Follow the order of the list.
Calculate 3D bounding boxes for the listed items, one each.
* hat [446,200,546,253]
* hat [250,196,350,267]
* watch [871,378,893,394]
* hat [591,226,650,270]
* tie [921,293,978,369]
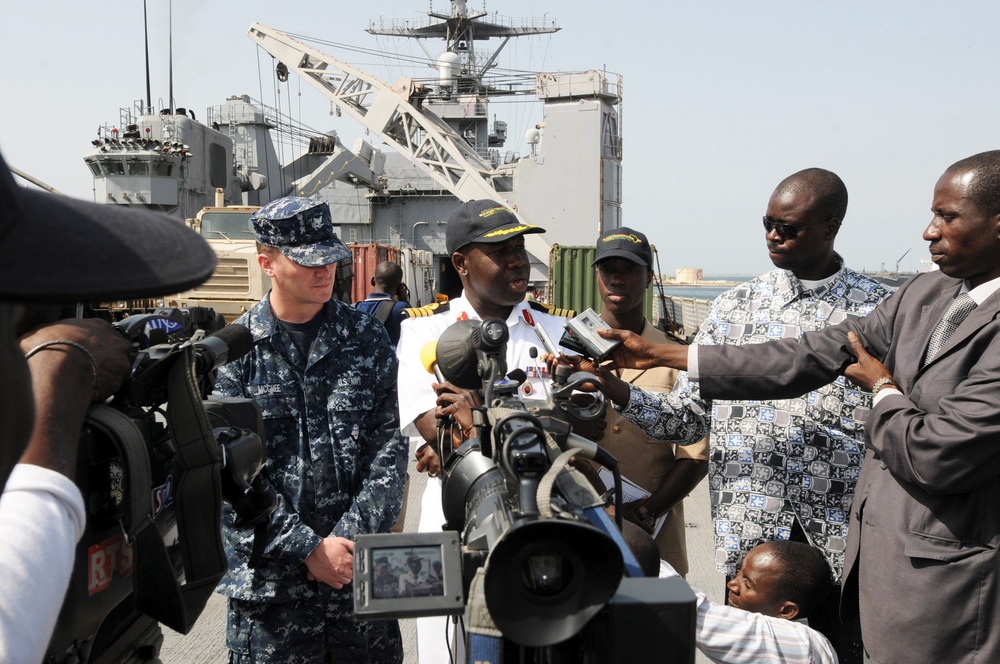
[{"bbox_3d":[-0.030,-0.561,5.155,0.372,0.266,0.547,-17,15,-43],"label":"hat"},{"bbox_3d":[-0.966,-0.503,4.794,0.503,0.284,0.441,2,18,10],"label":"hat"},{"bbox_3d":[1.731,0.241,4.505,0.082,0.083,0.056,-5,15,6],"label":"watch"},{"bbox_3d":[0.750,-0.511,6.085,0.347,0.267,0.474,6,-3,11],"label":"hat"},{"bbox_3d":[2.018,0.012,4.451,0.071,0.342,0.086,38,-4,-24],"label":"tie"}]
